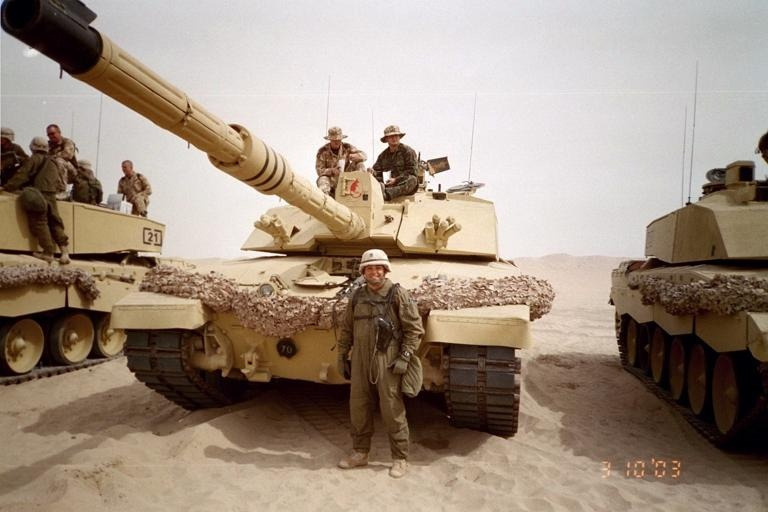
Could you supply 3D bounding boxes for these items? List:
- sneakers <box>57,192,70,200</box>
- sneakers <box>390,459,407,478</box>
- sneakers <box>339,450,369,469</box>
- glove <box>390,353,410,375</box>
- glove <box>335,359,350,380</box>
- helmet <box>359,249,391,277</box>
[{"bbox_3d":[-7.039,-1.309,13.909,0.168,0.100,0.252,4,8,-19],"label":"sneakers"},{"bbox_3d":[0.229,3.030,9.175,0.225,0.183,0.387,5,11,18],"label":"sneakers"},{"bbox_3d":[-0.419,2.995,9.285,0.511,0.268,0.188,2,-7,-8],"label":"sneakers"},{"bbox_3d":[0.250,1.544,9.059,0.204,0.312,0.107,16,5,15],"label":"glove"},{"bbox_3d":[-0.600,1.679,9.383,0.198,0.273,0.277,0,6,-4],"label":"glove"},{"bbox_3d":[-0.121,0.100,9.286,0.339,0.309,0.350,-2,-6,0],"label":"helmet"}]
